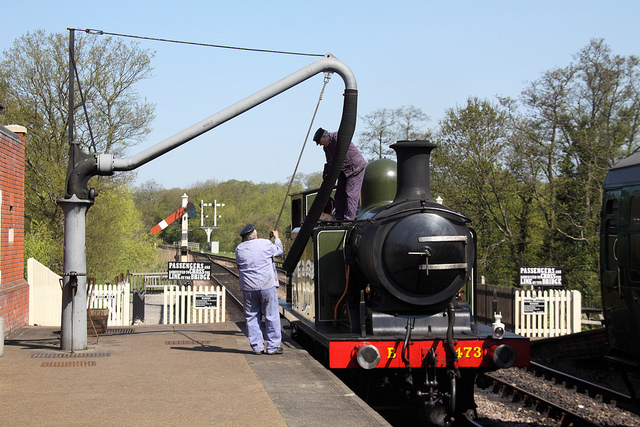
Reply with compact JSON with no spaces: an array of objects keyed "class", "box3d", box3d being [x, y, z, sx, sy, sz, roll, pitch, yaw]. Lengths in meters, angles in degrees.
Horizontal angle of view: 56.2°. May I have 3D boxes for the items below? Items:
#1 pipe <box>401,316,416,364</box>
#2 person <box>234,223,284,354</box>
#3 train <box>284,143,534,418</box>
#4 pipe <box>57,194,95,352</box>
[{"class":"pipe","box3d":[1.552,2.238,10.546,0.154,0.751,0.398,2,2,22]},{"class":"person","box3d":[-1.232,1.546,12.235,0.958,2.607,0.570,1,2,-3]},{"class":"train","box3d":[1.678,1.319,11.272,4.235,5.215,2.708,1,2,6]},{"class":"pipe","box3d":[-4.974,1.205,12.139,0.630,3.163,0.384,0,2,-23]}]
